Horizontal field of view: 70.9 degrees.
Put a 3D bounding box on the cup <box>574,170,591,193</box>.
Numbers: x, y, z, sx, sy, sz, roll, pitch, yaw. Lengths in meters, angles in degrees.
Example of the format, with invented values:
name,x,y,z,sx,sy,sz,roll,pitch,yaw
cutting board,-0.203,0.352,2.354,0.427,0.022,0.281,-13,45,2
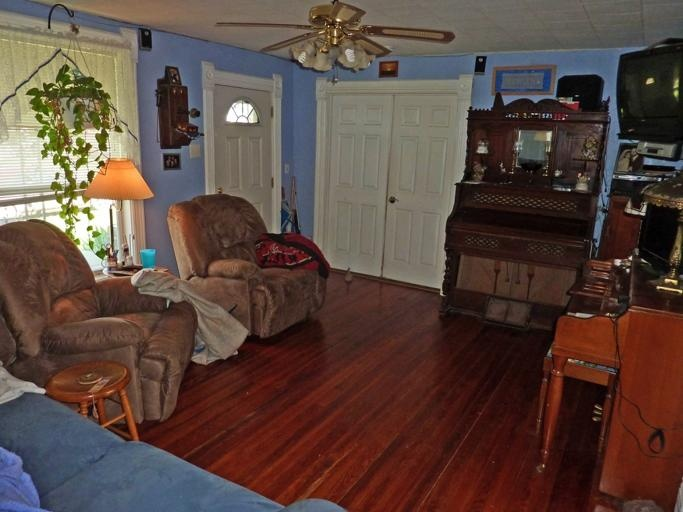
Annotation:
name,x,y,z,sx,sy,sz,roll,pitch,yaw
cup,2.429,-0.748,4.821,0.128,0.190,0.341,6,15,27

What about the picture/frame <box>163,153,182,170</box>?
name,x,y,z,sx,sy,sz,roll,pitch,yaw
picture/frame,-1.828,-1.019,5.136,0.018,0.150,0.178,4,20,26

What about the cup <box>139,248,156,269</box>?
name,x,y,z,sx,sy,sz,roll,pitch,yaw
cup,-1.888,0.023,4.647,0.210,0.222,0.201,2,3,0

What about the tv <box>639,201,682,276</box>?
name,x,y,z,sx,sy,sz,roll,pitch,yaw
tv,2.043,-0.103,3.052,0.165,0.462,0.507,3,-2,26

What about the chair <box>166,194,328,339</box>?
name,x,y,z,sx,sy,sz,roll,pitch,yaw
chair,-0.970,0.072,5.181,1.532,1.503,1.451,8,15,25

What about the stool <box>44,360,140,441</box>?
name,x,y,z,sx,sy,sz,roll,pitch,yaw
stool,-1.504,0.845,2.857,0.361,0.408,0.358,31,36,35

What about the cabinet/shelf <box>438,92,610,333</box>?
name,x,y,z,sx,sy,sz,roll,pitch,yaw
cabinet/shelf,1.865,-0.456,5.015,1.434,2.415,0.747,6,17,27

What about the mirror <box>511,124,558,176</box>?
name,x,y,z,sx,sy,sz,roll,pitch,yaw
mirror,2.043,-1.131,5.033,0.505,0.668,0.072,8,24,22

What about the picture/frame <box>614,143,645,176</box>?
name,x,y,z,sx,sy,sz,roll,pitch,yaw
picture/frame,2.782,-0.948,4.629,0.234,0.283,0.618,6,16,28
